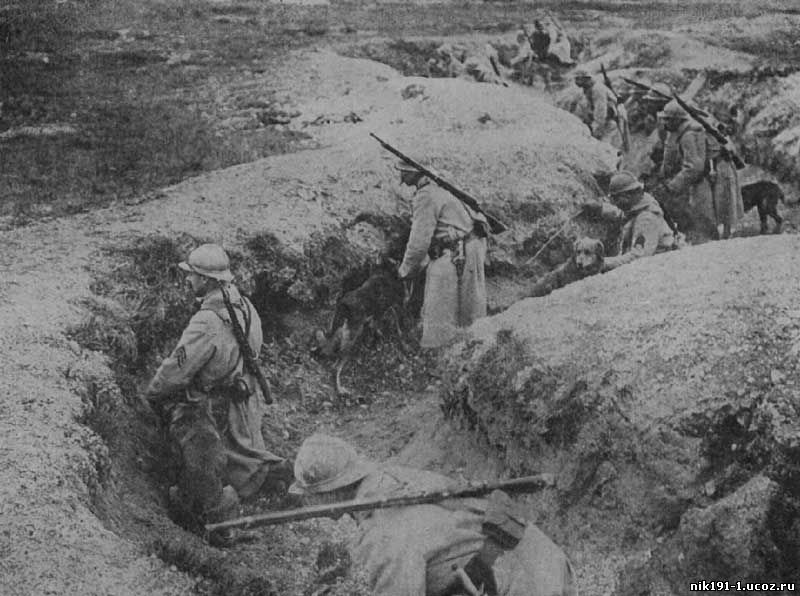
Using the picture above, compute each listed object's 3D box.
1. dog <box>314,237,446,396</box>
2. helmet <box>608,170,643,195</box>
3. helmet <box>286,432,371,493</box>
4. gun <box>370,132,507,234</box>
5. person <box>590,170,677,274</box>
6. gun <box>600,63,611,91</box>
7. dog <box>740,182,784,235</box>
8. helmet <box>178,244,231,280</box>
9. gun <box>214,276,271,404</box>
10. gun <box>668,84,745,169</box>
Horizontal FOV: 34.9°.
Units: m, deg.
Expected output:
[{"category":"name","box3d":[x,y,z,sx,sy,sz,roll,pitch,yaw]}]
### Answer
[{"category":"dog","box3d":[-0.253,0.218,10.552,1.015,0.829,0.425,-20,37,-24]},{"category":"helmet","box3d":[1.884,-0.971,10.875,0.178,0.144,0.250,-19,-1,39]},{"category":"helmet","box3d":[-0.608,1.257,10.245,0.507,0.266,0.455,-26,30,-22]},{"category":"gun","box3d":[0.259,-0.923,10.713,1.514,0.358,0.052,31,5,-11]},{"category":"person","box3d":[1.937,-0.675,10.851,0.739,0.581,0.518,-13,35,-15]},{"category":"gun","box3d":[1.759,-1.911,11.087,0.047,0.313,0.035,-14,-6,5]},{"category":"dog","box3d":[3.118,-0.776,11.045,0.396,0.323,0.321,-5,34,-4]},{"category":"helmet","box3d":[-1.597,-0.253,10.414,0.341,0.181,0.263,18,17,-7]},{"category":"gun","box3d":[-1.314,0.392,10.363,0.102,1.014,0.170,-18,-3,-30]},{"category":"gun","box3d":[2.609,-1.457,11.081,0.122,0.931,0.094,-42,-2,-3]}]
